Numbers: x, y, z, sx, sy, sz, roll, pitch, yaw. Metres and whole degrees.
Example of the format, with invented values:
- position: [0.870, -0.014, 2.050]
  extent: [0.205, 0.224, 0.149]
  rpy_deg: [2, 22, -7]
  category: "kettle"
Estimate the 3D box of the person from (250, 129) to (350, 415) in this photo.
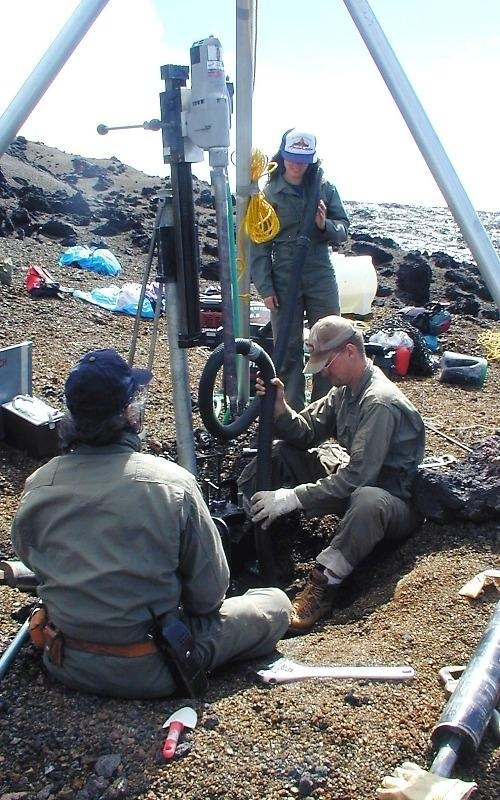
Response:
- position: [0.300, -0.780, 4.229]
  extent: [0.488, 1.600, 0.450]
  rpy_deg: [-4, 23, -15]
  category: "person"

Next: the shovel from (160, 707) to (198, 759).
- position: [-0.197, 0.886, 1.889]
  extent: [0.086, 0.031, 0.265]
  rpy_deg: [-6, 4, 6]
  category: "shovel"

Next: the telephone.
- position: [-0.211, 0.728, 1.989]
  extent: [0.102, 0.378, 0.115]
  rpy_deg: [-33, 47, -14]
  category: "telephone"

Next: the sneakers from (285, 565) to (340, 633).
- position: [0.267, 0.840, 2.919]
  extent: [0.170, 0.150, 0.357]
  rpy_deg: [21, 26, 39]
  category: "sneakers"

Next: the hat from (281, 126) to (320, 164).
- position: [0.269, -1.413, 3.879]
  extent: [0.204, 0.173, 0.187]
  rpy_deg: [2, 15, 4]
  category: "hat"

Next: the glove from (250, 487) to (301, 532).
- position: [0.109, 0.450, 3.106]
  extent: [0.334, 0.189, 0.180]
  rpy_deg: [-6, -1, 18]
  category: "glove"

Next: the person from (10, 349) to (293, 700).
- position: [-0.374, 0.382, 1.966]
  extent: [0.611, 1.023, 0.304]
  rpy_deg: [0, 15, -2]
  category: "person"

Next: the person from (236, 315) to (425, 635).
- position: [0.342, 0.242, 3.263]
  extent: [0.828, 1.424, 0.706]
  rpy_deg: [-2, 4, -44]
  category: "person"
